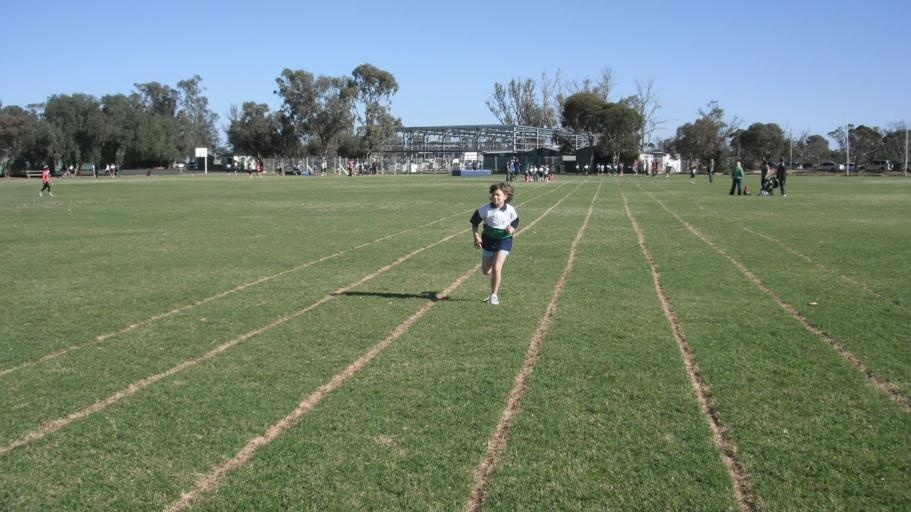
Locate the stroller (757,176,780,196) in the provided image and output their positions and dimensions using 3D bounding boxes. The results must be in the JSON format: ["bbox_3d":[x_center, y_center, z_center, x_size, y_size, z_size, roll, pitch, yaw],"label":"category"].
[{"bbox_3d":[17.340,-3.823,33.757,0.698,0.900,1.070,12,18,42],"label":"stroller"}]
